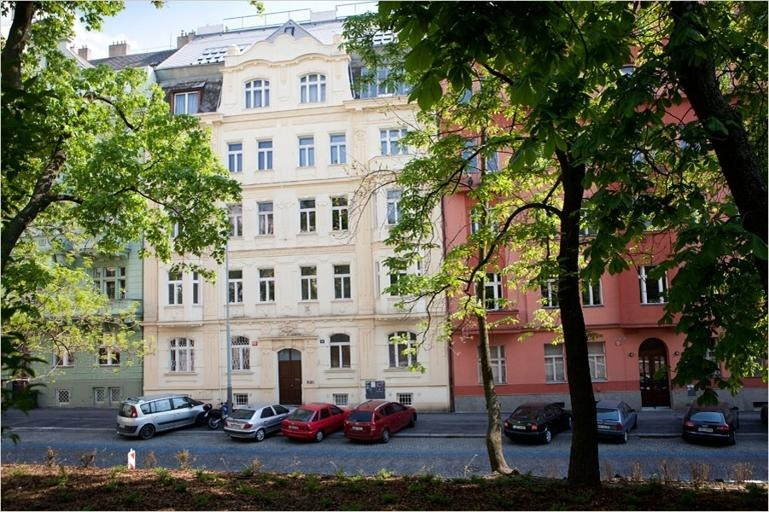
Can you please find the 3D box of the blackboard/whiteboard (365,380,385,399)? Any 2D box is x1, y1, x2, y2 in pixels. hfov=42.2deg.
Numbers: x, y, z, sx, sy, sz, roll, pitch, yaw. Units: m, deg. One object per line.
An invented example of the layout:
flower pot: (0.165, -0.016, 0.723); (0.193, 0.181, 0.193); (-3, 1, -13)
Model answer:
blackboard/whiteboard: (-0.493, 6.413, 47.695); (1.325, 1.106, 0.736); (-1, -4, 4)

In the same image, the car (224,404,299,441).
car: (-5.434, 7.271, 43.449); (1.348, 0.968, 3.010); (-2, 0, 26)

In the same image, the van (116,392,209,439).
van: (-9.800, 7.161, 44.326); (3.708, 1.722, 1.037); (3, -8, -32)

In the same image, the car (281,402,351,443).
car: (-2.920, 7.211, 43.023); (1.295, 0.974, 3.071); (-2, -2, 26)

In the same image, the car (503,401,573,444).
car: (6.617, 6.931, 41.952); (1.220, 0.942, 2.958); (-5, -4, 36)
